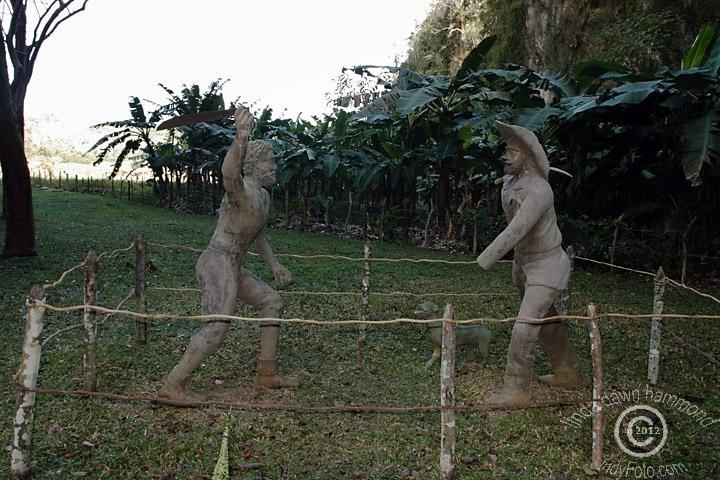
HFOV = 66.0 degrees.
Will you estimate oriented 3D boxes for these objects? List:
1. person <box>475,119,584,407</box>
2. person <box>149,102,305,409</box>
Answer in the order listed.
[{"bbox_3d":[2.092,0.279,6.901,1.490,3.399,0.962,-4,12,-33],"label":"person"},{"bbox_3d":[-1.525,0.163,6.935,0.897,3.560,1.603,9,12,33],"label":"person"}]
